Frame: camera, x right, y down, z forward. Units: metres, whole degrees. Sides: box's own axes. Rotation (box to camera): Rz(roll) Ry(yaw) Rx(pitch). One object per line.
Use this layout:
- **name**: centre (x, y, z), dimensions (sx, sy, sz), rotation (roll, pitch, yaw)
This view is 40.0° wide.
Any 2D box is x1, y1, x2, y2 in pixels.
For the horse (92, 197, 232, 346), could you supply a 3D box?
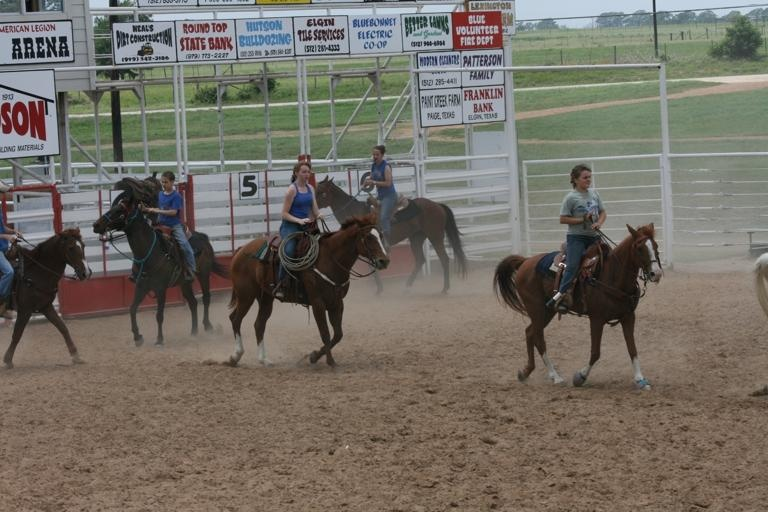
- **horse**: centre (-4.094, 0.169, 20.312), dimensions (1.005, 3.012, 4.130), rotation (-1, 2, 24)

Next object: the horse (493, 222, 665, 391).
- **horse**: centre (3.199, 0.874, 17.308), dimensions (1.044, 2.628, 3.483), rotation (1, -1, -38)

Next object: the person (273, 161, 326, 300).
- **person**: centre (-1.469, -0.831, 17.878), dimensions (0.703, 1.560, 0.725), rotation (-6, 10, -19)

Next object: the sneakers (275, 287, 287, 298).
- **sneakers**: centre (-1.755, 0.604, 17.867), dimensions (0.176, 0.133, 0.171), rotation (1, -1, -6)

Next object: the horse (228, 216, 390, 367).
- **horse**: centre (-1.407, 0.601, 18.287), dimensions (3.652, 2.689, 1.313), rotation (-1, -1, 36)
